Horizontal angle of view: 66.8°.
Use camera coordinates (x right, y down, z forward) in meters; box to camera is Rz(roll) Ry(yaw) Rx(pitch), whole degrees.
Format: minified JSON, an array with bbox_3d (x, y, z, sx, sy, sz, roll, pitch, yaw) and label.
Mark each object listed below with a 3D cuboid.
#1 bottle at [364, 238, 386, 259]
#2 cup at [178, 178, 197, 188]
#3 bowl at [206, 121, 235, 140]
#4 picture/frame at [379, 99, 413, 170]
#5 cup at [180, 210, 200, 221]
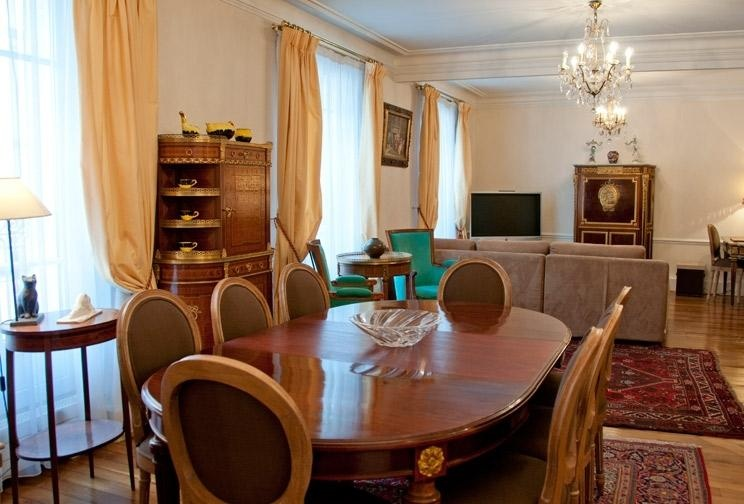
[{"bbox_3d":[0.037,-0.033,5.786,0.198,0.169,0.196,3,-6,-27],"label":"bottle"},{"bbox_3d":[-1.472,-0.540,4.487,0.086,0.048,0.106,-5,-8,38],"label":"cup"},{"bbox_3d":[-1.258,-1.004,4.686,0.218,0.147,0.179,2,-6,-39],"label":"bowl"},{"bbox_3d":[0.295,-1.616,7.708,0.120,1.108,1.105,5,4,26],"label":"picture/frame"},{"bbox_3d":[-1.458,-0.297,4.511,0.119,0.065,0.144,5,13,2],"label":"cup"}]
